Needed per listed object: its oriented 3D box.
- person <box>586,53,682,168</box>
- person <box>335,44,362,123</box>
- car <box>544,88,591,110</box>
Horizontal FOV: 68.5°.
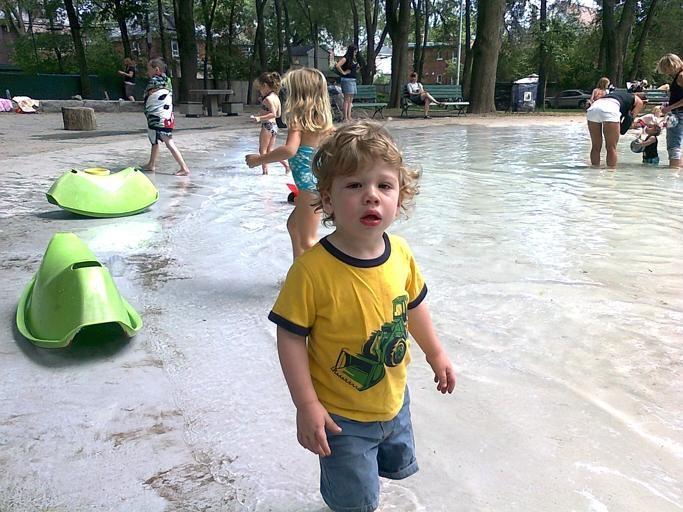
[{"bbox_3d":[4.956,-2.393,8.371,1.508,1.802,1.101,7,20,22],"label":"person"},{"bbox_3d":[0.176,-5.108,14.806,0.666,2.178,1.156,2,19,9],"label":"person"},{"bbox_3d":[16.233,-11.106,35.611,2.122,1.291,2.800,-7,18,-18],"label":"car"}]
